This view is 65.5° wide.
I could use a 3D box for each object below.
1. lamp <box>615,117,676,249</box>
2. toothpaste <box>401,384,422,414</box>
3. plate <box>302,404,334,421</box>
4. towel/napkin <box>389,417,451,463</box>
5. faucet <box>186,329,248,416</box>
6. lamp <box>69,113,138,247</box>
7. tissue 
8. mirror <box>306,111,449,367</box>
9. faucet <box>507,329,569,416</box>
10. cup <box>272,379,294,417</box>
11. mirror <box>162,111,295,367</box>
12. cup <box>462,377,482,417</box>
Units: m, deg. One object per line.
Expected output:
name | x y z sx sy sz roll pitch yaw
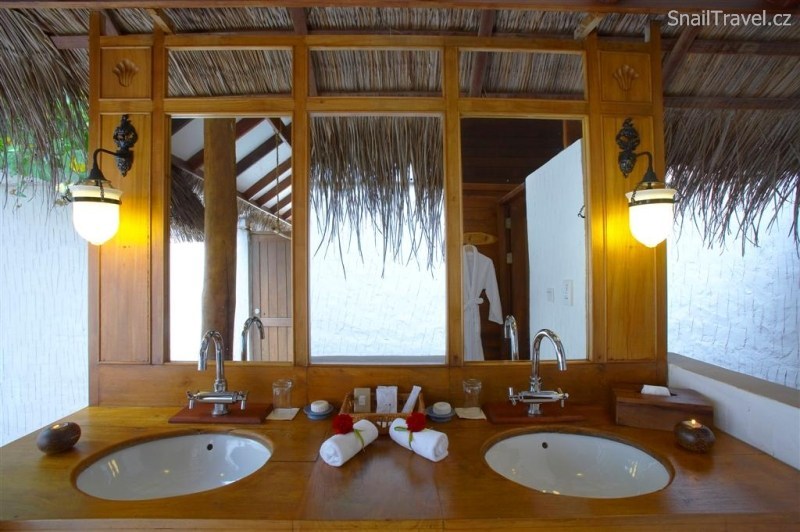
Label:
lamp | 1.261 -0.444 3.143 0.257 0.628 0.212 2 0 17
toothpaste | 0.059 0.654 3.087 0.088 0.121 0.190 -2 -3 35
plate | -0.405 0.717 3.113 0.157 0.076 0.111 0 -3 -9
towel/napkin | 0.099 0.741 2.863 0.144 0.121 0.267 3 -1 -36
faucet | -0.914 0.529 3.162 0.285 0.415 0.272 0 -3 -8
lamp | -1.549 -0.467 3.192 0.253 0.714 0.336 -7 -6 22
tissue  | 1.296 0.700 3.065 0.468 0.184 0.160 -1 -3 10
mirror | -0.100 -0.363 3.344 0.669 0.030 1.215 0 -37 2
faucet | 0.709 0.522 3.002 0.315 0.422 0.289 3 -4 -17
cup | -0.583 0.660 3.111 0.097 0.185 0.086 0 -3 -12
mirror | -0.878 -0.146 3.286 0.640 1.267 0.143 0 -3 3
cup | 0.370 0.656 3.112 0.099 0.186 0.090 0 -3 0
